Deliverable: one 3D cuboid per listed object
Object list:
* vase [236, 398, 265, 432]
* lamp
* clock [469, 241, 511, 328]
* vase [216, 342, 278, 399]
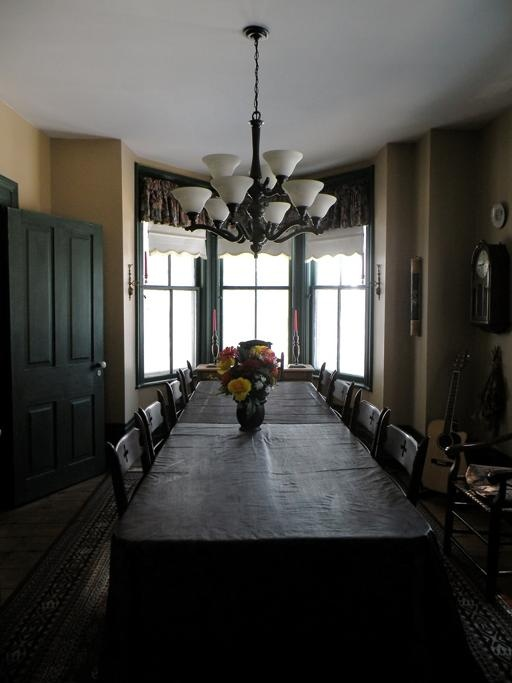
[{"bbox_3d":[-0.026,0.347,2.271,0.151,0.233,0.136,1,-10,1],"label":"vase"},{"bbox_3d":[-0.016,-1.009,2.429,0.653,1.197,0.740,-2,-1,29],"label":"lamp"},{"bbox_3d":[1.545,-0.358,3.185,0.167,0.600,0.335,0,3,10],"label":"clock"},{"bbox_3d":[-0.042,0.139,2.297,0.218,0.291,0.241,1,-3,-23],"label":"vase"}]
